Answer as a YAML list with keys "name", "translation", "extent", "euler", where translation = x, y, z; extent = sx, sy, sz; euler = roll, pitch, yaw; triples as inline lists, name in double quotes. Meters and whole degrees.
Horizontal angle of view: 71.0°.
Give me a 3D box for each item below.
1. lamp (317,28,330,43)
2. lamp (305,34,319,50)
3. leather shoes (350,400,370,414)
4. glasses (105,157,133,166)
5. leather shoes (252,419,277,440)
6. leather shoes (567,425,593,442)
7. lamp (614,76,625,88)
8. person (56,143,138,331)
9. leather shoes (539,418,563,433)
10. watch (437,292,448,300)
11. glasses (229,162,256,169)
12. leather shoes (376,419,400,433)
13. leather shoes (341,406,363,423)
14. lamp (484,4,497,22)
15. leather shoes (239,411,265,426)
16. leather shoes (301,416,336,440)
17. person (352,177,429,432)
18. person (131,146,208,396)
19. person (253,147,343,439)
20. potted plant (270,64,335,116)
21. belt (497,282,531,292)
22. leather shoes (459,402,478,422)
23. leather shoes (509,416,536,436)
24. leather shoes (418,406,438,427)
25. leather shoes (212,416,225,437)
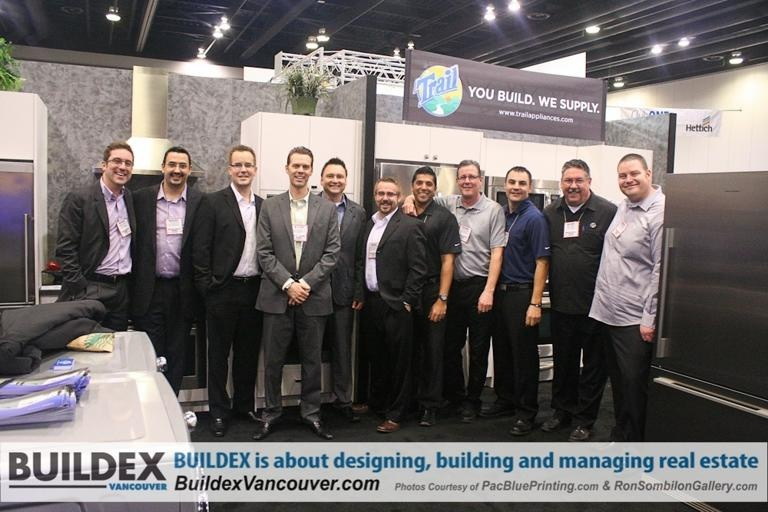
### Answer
- name: "lamp"
  translation: [-1.200, -4.263, 10.443]
  extent: [0.252, 0.229, 0.253]
  euler: [3, 1, 33]
- name: "lamp"
  translation: [-1.455, -4.252, 10.712]
  extent: [0.325, 0.283, 0.322]
  euler: [6, 17, 14]
- name: "leather shoes"
  translation: [-0.223, 1.403, 4.952]
  extent: [0.160, 0.061, 0.061]
  euler: [8, -6, -21]
- name: "glasses"
  translation: [-2.043, -0.724, 4.146]
  extent: [0.186, 0.064, 0.107]
  euler: [-5, 12, -28]
- name: "leather shoes"
  translation: [-0.951, 1.397, 4.332]
  extent: [0.094, 0.099, 0.253]
  euler: [-1, -2, 21]
- name: "leather shoes"
  translation: [1.589, 1.453, 4.375]
  extent: [0.088, 0.092, 0.221]
  euler: [17, 1, 32]
- name: "lamp"
  translation: [5.506, -4.106, 12.667]
  extent: [0.181, 0.064, 0.182]
  euler: [-4, -5, 35]
- name: "person"
  translation: [-2.203, -0.142, 4.133]
  extent: [0.560, 1.432, 0.327]
  euler: [-5, 12, -29]
- name: "leather shoes"
  translation: [1.425, 1.453, 4.601]
  extent: [0.218, 0.090, 0.091]
  euler: [9, -12, -40]
- name: "watch"
  translation: [0.502, 0.345, 4.581]
  extent: [0.053, 0.054, 0.053]
  euler: [6, -2, -24]
- name: "glasses"
  translation: [-1.146, -0.736, 4.351]
  extent: [0.195, 0.055, 0.083]
  euler: [-1, 11, -14]
- name: "leather shoes"
  translation: [0.050, 1.422, 4.512]
  extent: [0.223, 0.082, 0.106]
  euler: [-8, 14, -38]
- name: "leather shoes"
  translation: [-0.309, 1.386, 4.763]
  extent: [0.091, 0.109, 0.268]
  euler: [2, 6, -11]
- name: "lamp"
  translation: [1.786, -4.112, 9.110]
  extent: [0.181, 0.185, 0.181]
  euler: [5, 4, 11]
- name: "leather shoes"
  translation: [-1.150, 1.398, 4.661]
  extent: [0.247, 0.080, 0.138]
  euler: [1, 0, -14]
- name: "leather shoes"
  translation: [-0.540, 1.376, 4.429]
  extent: [0.340, 0.127, 0.116]
  euler: [25, 11, 33]
- name: "person"
  translation: [-0.007, 0.409, 4.637]
  extent: [0.612, 2.124, 0.459]
  euler: [10, 14, 38]
- name: "person"
  translation: [-1.749, 0.146, 4.355]
  extent: [0.579, 2.027, 0.335]
  euler: [-2, 11, -19]
- name: "person"
  translation: [-0.698, 0.293, 4.329]
  extent: [0.671, 2.292, 0.504]
  euler: [0, 11, -5]
- name: "potted plant"
  translation: [-0.774, -1.637, 5.388]
  extent: [0.447, 0.449, 0.408]
  euler: [10, 16, 3]
- name: "belt"
  translation: [1.114, 0.266, 4.594]
  extent: [0.283, 0.097, 0.071]
  euler: [5, 11, 17]
- name: "leather shoes"
  translation: [0.746, 1.391, 4.773]
  extent: [0.085, 0.096, 0.216]
  euler: [1, 3, 13]
- name: "leather shoes"
  translation: [1.146, 1.436, 4.489]
  extent: [0.243, 0.110, 0.092]
  euler: [11, -17, -42]
- name: "leather shoes"
  translation: [0.375, 1.404, 4.683]
  extent: [0.111, 0.124, 0.326]
  euler: [-1, -12, 7]
- name: "leather shoes"
  translation: [-1.345, 1.382, 4.349]
  extent: [0.080, 0.161, 0.067]
  euler: [4, -39, -18]
